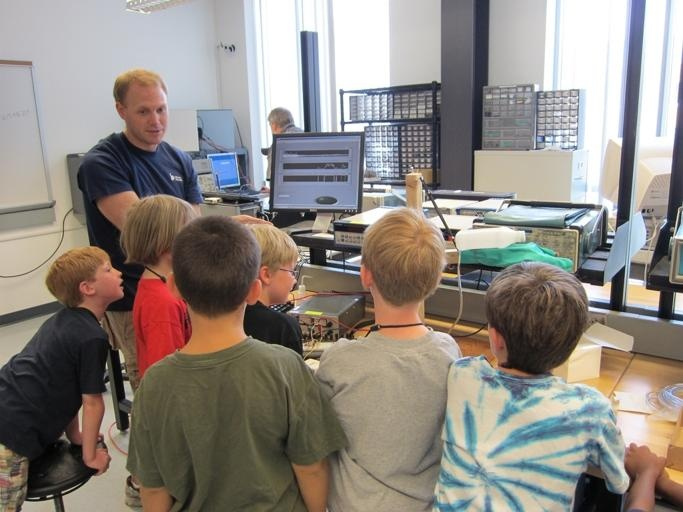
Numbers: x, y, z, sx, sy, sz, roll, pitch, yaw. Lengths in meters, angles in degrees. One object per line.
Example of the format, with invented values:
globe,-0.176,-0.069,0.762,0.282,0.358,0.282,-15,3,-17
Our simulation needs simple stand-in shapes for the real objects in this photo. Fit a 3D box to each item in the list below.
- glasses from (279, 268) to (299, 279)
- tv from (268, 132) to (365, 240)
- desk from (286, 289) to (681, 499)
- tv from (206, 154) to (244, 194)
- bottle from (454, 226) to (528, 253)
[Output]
glasses,-0.205,0.068,1.980,0.068,0.022,0.068,8,5,23
tv,-0.118,-0.371,2.651,0.619,0.644,0.224,1,2,15
desk,0.595,0.340,2.020,1.239,0.567,0.665,5,12,21
tv,-1.321,-0.911,5.753,0.077,0.465,0.613,-5,16,33
bottle,0.578,-0.069,2.017,0.204,0.073,0.117,-5,5,-1
